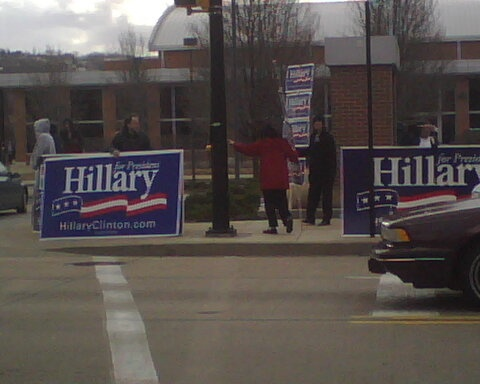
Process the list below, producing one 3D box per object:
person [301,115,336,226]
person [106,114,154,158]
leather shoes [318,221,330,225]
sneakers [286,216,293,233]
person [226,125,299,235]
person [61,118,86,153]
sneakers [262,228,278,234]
[{"bbox_3d":[1.579,-0.416,14.682,0.630,2.117,0.521,0,5,8],"label":"person"},{"bbox_3d":[-1.992,-1.004,13.736,0.793,1.306,0.584,-3,0,-32],"label":"person"},{"bbox_3d":[1.663,0.608,14.634,0.225,0.121,0.087,2,1,15],"label":"leather shoes"},{"bbox_3d":[0.882,0.598,13.185,0.076,0.308,0.102,1,6,-5],"label":"sneakers"},{"bbox_3d":[0.461,-0.152,13.412,1.097,2.160,0.830,-1,-19,-2],"label":"person"},{"bbox_3d":[-3.771,-1.247,16.645,0.428,0.764,0.870,0,7,3],"label":"person"},{"bbox_3d":[0.545,0.716,13.473,0.269,0.145,0.105,6,7,41],"label":"sneakers"}]
